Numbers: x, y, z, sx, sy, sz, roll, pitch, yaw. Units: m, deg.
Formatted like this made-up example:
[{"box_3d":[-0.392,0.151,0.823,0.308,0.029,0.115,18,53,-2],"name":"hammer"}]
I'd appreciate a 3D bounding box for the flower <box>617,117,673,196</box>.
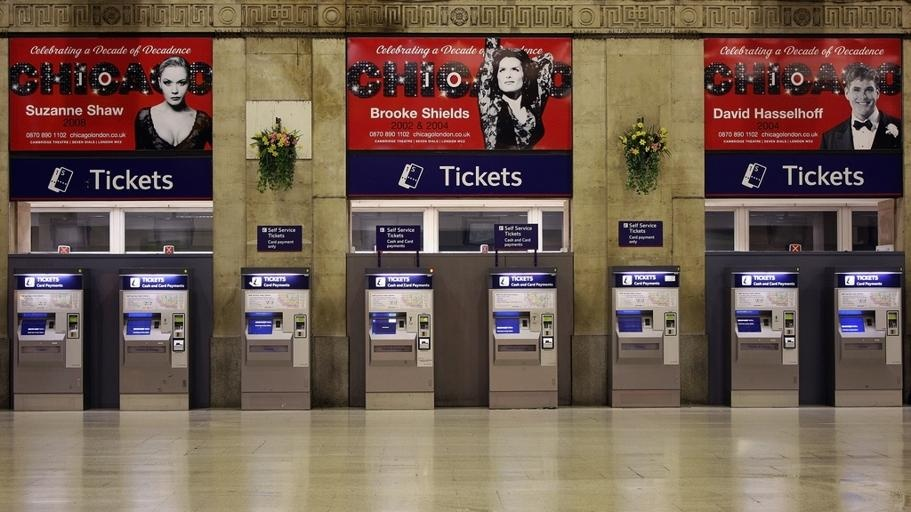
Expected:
[{"box_3d":[4.131,-2.197,25.664,1.020,1.684,0.385,-2,2,7],"name":"flower"}]
